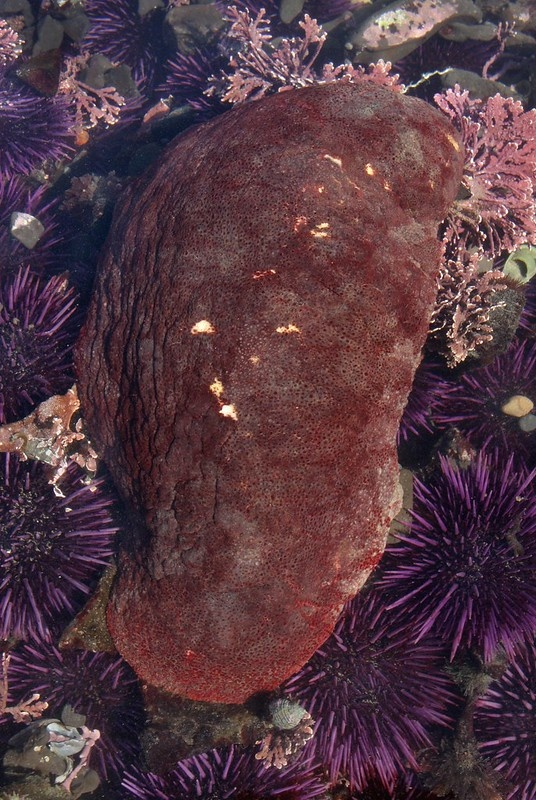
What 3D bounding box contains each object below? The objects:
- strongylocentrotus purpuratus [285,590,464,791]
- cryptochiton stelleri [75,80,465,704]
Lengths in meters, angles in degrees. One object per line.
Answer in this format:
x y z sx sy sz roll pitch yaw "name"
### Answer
0.595 1.678 5.071 1.155 1.016 0.507 -7 -4 -7 "strongylocentrotus purpuratus"
-0.048 -0.009 5.077 2.150 3.256 1.662 -8 27 -7 "cryptochiton stelleri"
